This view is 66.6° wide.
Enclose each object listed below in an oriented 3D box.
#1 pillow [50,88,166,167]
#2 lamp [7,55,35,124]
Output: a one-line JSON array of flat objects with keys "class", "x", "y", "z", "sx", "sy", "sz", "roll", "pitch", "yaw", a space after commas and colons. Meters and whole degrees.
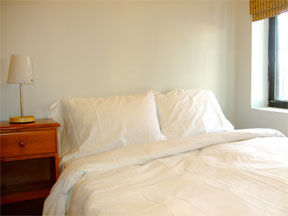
[{"class": "pillow", "x": -0.278, "y": 0.123, "z": 2.014, "sx": 1.024, "sy": 0.462, "sz": 0.444, "roll": -7, "pitch": 27, "yaw": -25}, {"class": "lamp", "x": -1.050, "y": -0.162, "z": 1.853, "sx": 0.231, "sy": 0.554, "sz": 0.389, "roll": -8, "pitch": 14, "yaw": -27}]
